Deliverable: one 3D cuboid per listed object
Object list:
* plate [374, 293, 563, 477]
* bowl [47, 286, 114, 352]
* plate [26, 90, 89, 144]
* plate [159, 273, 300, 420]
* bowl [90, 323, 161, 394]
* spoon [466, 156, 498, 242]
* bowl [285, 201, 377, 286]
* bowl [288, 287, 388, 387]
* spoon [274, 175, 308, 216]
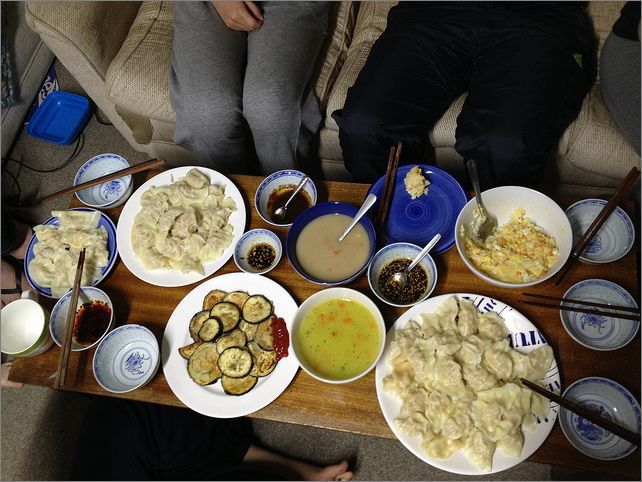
[{"bbox_3d":[0.604,0.579,2.038,0.731,0.152,0.726,23,81,7],"label":"plate"},{"bbox_3d":[-1.115,0.377,2.320,0.275,0.125,0.313,4,75,2],"label":"bowl"},{"bbox_3d":[-2.105,-0.990,3.972,0.415,0.147,0.470,22,81,8],"label":"plate"},{"bbox_3d":[-0.414,0.451,2.181,0.624,0.134,0.640,-4,79,2],"label":"plate"},{"bbox_3d":[-0.890,0.540,2.258,0.272,0.123,0.311,6,80,7],"label":"bowl"},{"bbox_3d":[0.744,-0.171,2.310,0.100,0.061,0.430,-14,102,3],"label":"spoon"},{"bbox_3d":[-0.003,-0.050,2.502,0.440,0.460,0.164,-33,71,-20],"label":"bowl"},{"bbox_3d":[0.064,0.396,2.118,0.388,0.131,0.386,-1,79,3],"label":"bowl"},{"bbox_3d":[-0.148,-0.223,2.481,0.047,0.031,0.219,30,96,-14],"label":"spoon"}]
